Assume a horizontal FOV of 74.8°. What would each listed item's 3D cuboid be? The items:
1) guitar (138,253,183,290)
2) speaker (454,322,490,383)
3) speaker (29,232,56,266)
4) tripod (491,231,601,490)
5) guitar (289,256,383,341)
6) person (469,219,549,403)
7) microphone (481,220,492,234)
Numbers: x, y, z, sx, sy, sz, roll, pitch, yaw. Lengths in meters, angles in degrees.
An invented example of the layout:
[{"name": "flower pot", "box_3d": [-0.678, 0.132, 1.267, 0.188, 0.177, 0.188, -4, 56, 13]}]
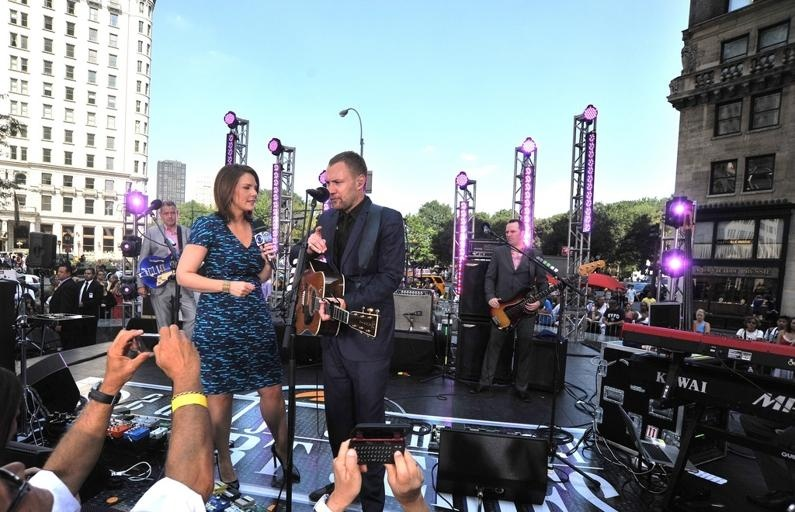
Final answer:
[{"name": "guitar", "box_3d": [-3.804, 0.248, 8.372, 0.651, 0.333, 0.639, -2, -4, 3]}, {"name": "speaker", "box_3d": [1.399, 1.771, 9.933, 0.633, 1.129, 0.626, 3, -3, -37]}, {"name": "speaker", "box_3d": [-5.976, -0.102, 8.754, 0.379, 0.612, 0.405, 1, 1, -35]}, {"name": "tripod", "box_3d": [2.321, 1.359, 8.372, 1.929, 3.867, 1.478, 2, 1, 11]}, {"name": "guitar", "box_3d": [-0.743, 0.598, 6.250, 0.249, 0.953, 1.555, 4, 5, -44]}, {"name": "person", "box_3d": [2.081, 0.897, 9.217, 1.150, 2.986, 0.830, 4, 7, 14]}, {"name": "microphone", "box_3d": [1.380, -0.431, 7.862, 0.152, 0.176, 0.198, -2, 5, -5]}]
